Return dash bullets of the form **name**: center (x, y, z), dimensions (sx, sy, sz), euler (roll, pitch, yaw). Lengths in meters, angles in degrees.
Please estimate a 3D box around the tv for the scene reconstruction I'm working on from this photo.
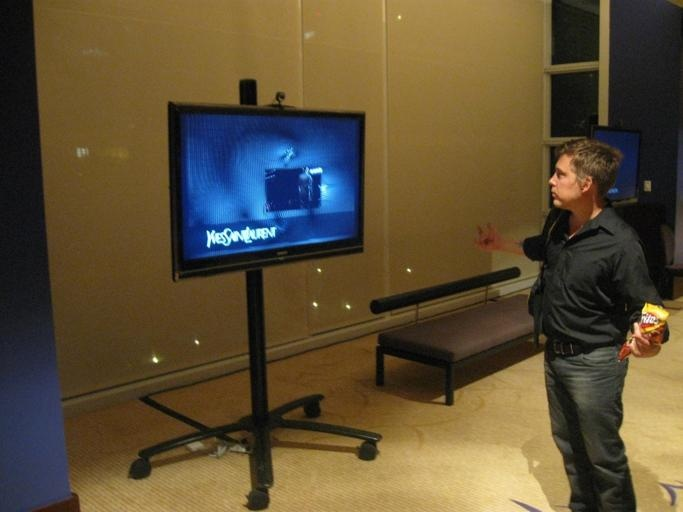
- **tv**: center (-0.439, -0.388, 3.291), dimensions (1.380, 0.923, 0.119), euler (-5, 8, -36)

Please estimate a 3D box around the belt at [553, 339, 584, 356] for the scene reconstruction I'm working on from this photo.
- **belt**: center (1.037, 0.416, 2.684), dimensions (0.091, 0.032, 0.068), euler (3, 2, 29)
